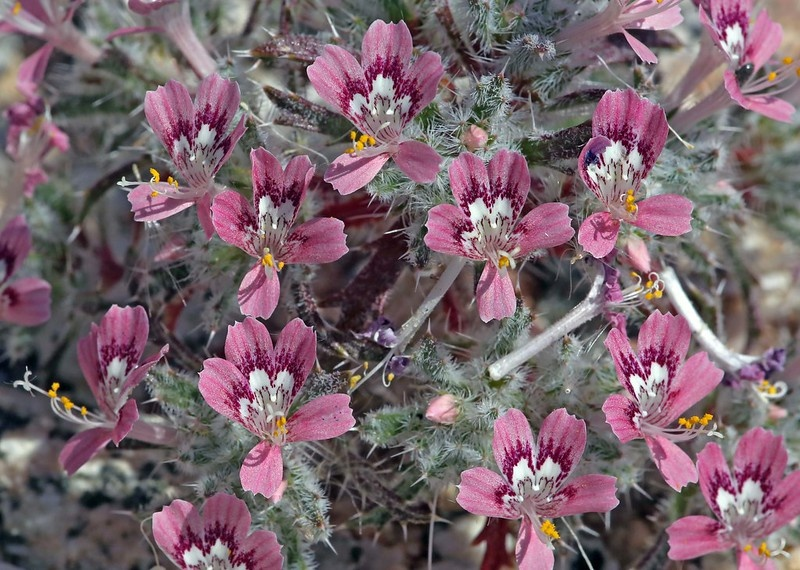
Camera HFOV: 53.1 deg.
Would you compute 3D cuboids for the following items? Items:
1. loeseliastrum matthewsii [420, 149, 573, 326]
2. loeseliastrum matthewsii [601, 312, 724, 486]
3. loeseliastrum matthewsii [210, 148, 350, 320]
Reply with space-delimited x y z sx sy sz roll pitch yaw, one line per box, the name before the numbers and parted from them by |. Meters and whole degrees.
loeseliastrum matthewsii | 0.238 -0.151 2.076 0.342 0.135 0.373 -43 86 -7
loeseliastrum matthewsii | 0.665 0.280 2.081 0.335 0.146 0.432 19 82 0
loeseliastrum matthewsii | -0.333 -0.148 2.108 0.332 0.130 0.380 -29 85 -6
